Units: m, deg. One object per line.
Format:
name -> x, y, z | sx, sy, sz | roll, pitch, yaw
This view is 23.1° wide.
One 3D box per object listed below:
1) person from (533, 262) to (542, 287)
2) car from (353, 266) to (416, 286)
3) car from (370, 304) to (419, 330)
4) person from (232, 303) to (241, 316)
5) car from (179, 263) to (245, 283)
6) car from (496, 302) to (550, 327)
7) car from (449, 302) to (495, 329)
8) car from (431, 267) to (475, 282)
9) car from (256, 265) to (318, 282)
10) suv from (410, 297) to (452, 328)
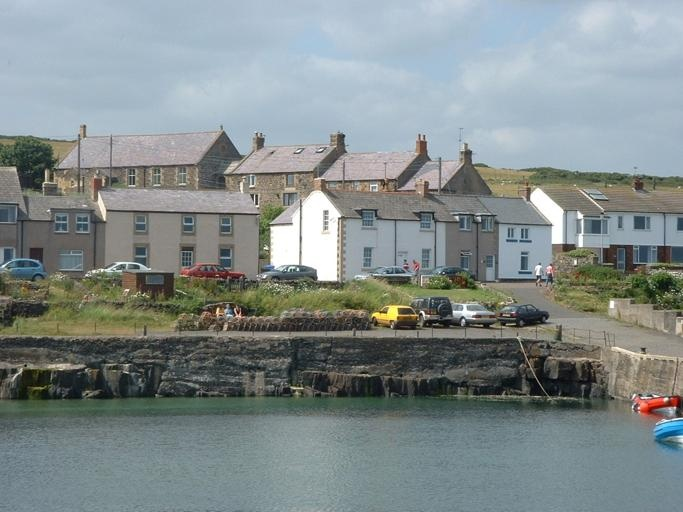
person -> 15.028, 1.468, 129.186 | 1.128, 1.591, 3.068 | -2, 9, 8
car -> 3.252, 1.348, 121.152 | 4.685, 1.398, 2.558 | 4, -5, -42
car -> 3.538, 3.905, 108.564 | 1.341, 1.501, 3.167 | 5, -6, -45
person -> -6.707, 3.447, 109.060 | 0.528, 0.725, 0.913 | 0, -4, 9
car -> -8.959, 1.152, 116.706 | 3.750, 1.173, 1.722 | -1, 2, -19
car -> 11.813, 3.811, 109.928 | 2.665, 1.079, 1.542 | -5, 7, -31
car -> 8.553, 3.848, 109.272 | 1.285, 0.878, 2.881 | -2, 4, -20
car -> 8.222, 1.185, 124.550 | 2.673, 0.890, 1.341 | 3, -3, -24
car -> -3.540, 0.983, 119.028 | 3.298, 1.236, 1.518 | 3, -5, -29
suv -> 5.809, 3.530, 110.130 | 1.470, 1.199, 2.447 | -1, 4, -15
